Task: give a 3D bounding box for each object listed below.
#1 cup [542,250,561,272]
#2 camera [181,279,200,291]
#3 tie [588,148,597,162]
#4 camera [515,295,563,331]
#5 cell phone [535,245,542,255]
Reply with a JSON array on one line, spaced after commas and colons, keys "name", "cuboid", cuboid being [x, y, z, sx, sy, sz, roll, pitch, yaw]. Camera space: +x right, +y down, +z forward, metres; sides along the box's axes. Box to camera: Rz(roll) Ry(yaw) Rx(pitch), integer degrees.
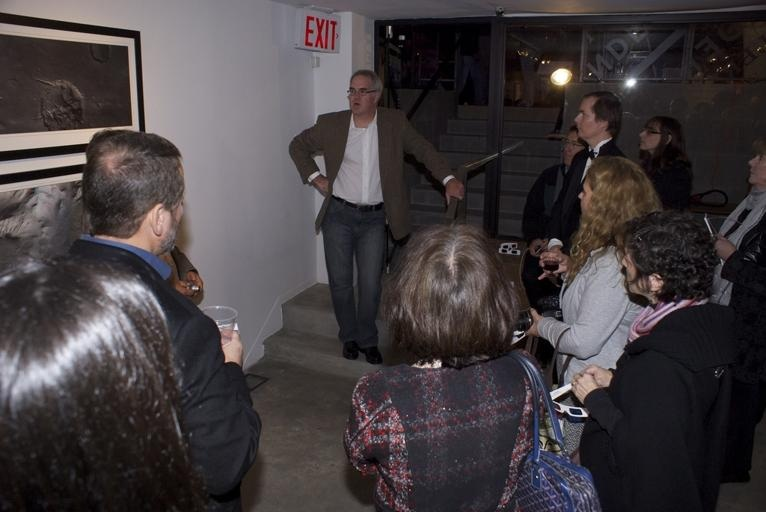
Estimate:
[{"name": "cup", "cuboid": [0.955, 0.020, 3.025, 0.102, 0.077, 0.104, -4, 20, 1]}, {"name": "camera", "cuboid": [-1.081, 0.165, 3.014, 0.092, 0.055, 0.093, 6, 4, -27]}, {"name": "tie", "cuboid": [1.430, -0.688, 3.650, 0.054, 0.075, 0.022, -5, -17, 43]}, {"name": "camera", "cuboid": [0.782, 0.284, 2.637, 0.122, 0.125, 0.222, -3, -7, -39]}, {"name": "cell phone", "cuboid": [1.056, -0.039, 3.625, 0.037, 0.076, 0.188, 0, -9, 16]}]
